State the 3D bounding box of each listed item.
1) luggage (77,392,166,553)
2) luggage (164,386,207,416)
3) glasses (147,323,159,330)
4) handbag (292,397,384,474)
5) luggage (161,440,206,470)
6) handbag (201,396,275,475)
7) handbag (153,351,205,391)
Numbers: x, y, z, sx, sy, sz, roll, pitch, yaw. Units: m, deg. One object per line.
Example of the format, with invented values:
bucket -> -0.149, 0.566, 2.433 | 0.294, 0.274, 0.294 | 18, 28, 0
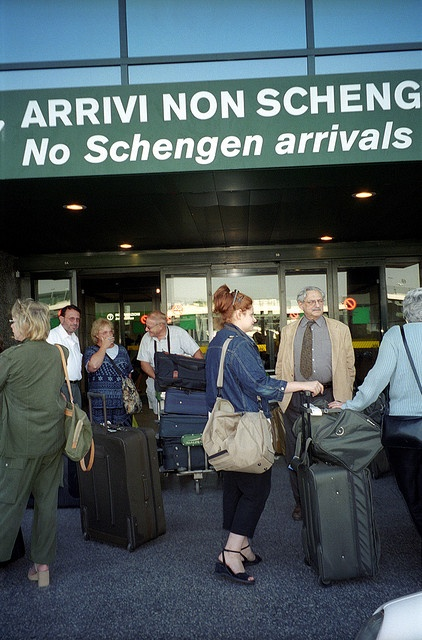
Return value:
luggage -> -0.733, 1.048, 3.376 | 0.511, 0.948, 0.350 | -5, 4, 27
luggage -> -0.251, 0.786, 4.385 | 0.359, 0.318, 0.116 | 4, 2, -7
glasses -> -0.658, 0.077, 5.044 | 0.066, 0.069, 0.188 | 3, -8, -38
handbag -> 0.659, 0.595, 2.687 | 0.452, 0.479, 0.296 | -14, 6, -6
luggage -> -0.270, 1.307, 4.487 | 0.408, 0.283, 0.298 | 3, -5, -20
handbag -> 0.137, 0.640, 2.576 | 0.385, 0.426, 0.263 | -3, -6, 6
handbag -> -0.311, 0.606, 4.465 | 0.462, 0.355, 0.357 | 7, -17, -14
